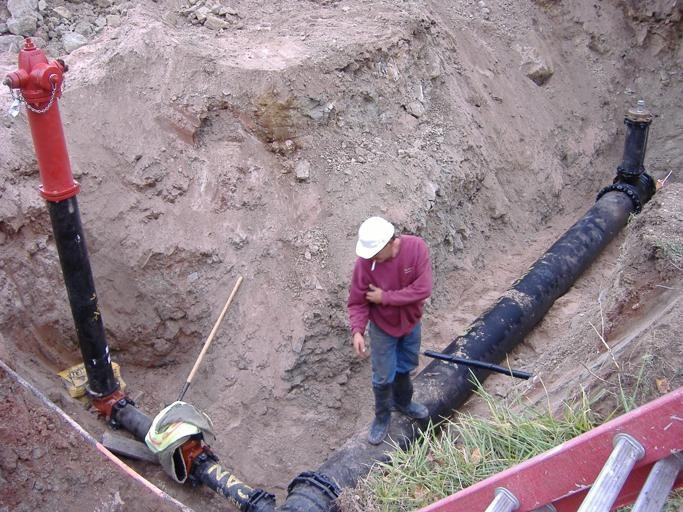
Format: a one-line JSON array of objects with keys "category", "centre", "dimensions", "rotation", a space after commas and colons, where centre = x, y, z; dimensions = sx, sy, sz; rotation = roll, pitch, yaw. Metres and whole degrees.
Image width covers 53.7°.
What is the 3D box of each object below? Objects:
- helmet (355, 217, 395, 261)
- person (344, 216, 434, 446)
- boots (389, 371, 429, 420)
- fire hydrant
[{"category": "helmet", "centre": [0.294, -0.142, 6.391], "dimensions": [0.303, 0.380, 0.287], "rotation": [27, 40, 19]}, {"category": "person", "centre": [0.440, 0.736, 6.727], "dimensions": [0.957, 2.360, 0.692], "rotation": [-24, 32, -35]}, {"category": "boots", "centre": [0.696, 1.455, 7.044], "dimensions": [0.421, 0.523, 0.272], "rotation": [3, 36, 21]}, {"category": "fire hydrant", "centre": [-2.960, -1.323, 6.737], "dimensions": [0.510, 1.373, 0.717], "rotation": [-22, 48, -36]}]
